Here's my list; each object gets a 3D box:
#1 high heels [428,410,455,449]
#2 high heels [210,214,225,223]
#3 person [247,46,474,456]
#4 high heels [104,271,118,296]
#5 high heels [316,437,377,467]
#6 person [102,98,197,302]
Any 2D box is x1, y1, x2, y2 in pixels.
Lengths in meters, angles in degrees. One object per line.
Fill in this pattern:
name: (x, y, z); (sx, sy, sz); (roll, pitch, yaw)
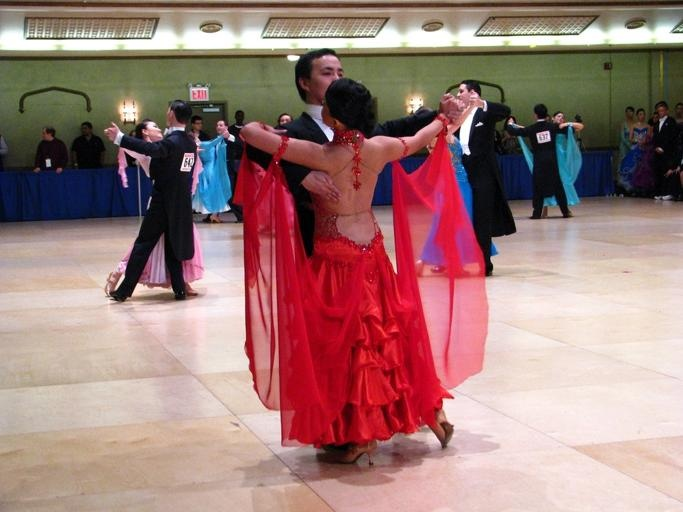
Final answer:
high heels: (0.424, 0.728, 2.392); (0.056, 0.168, 0.056); (-10, 21, 3)
high heels: (-2.761, -0.830, 12.593); (0.159, 0.211, 0.484); (1, 11, 5)
person: (0.027, -0.031, 2.395); (0.887, 1.702, 0.655); (-4, 9, -13)
high heels: (-2.255, 0.274, 5.578); (0.085, 0.225, 0.078); (15, 0, -17)
high heels: (0.019, 0.773, 2.323); (0.275, 0.121, 0.098); (3, -4, 11)
person: (-1.700, -0.501, 5.245); (0.819, 1.859, 0.758); (-5, 9, -18)
